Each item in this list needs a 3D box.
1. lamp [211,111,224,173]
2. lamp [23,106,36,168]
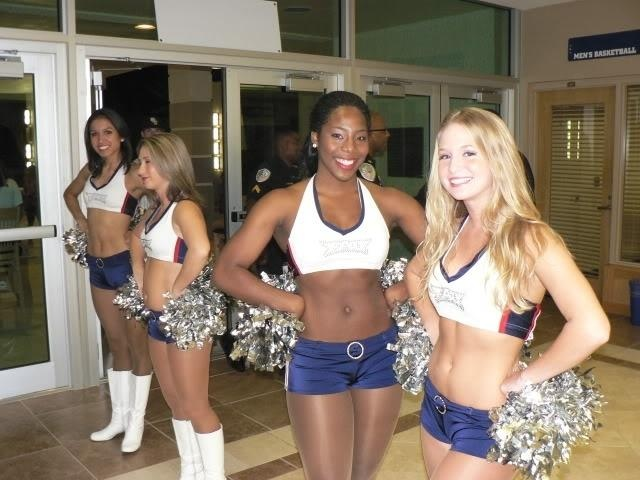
[{"bbox_3d":[-1.175,-1.120,5.898,0.169,0.651,0.175,7,11,30],"label":"lamp"},{"bbox_3d":[-2.424,-0.854,4.262,0.117,0.483,0.053,-9,14,-30],"label":"lamp"}]
